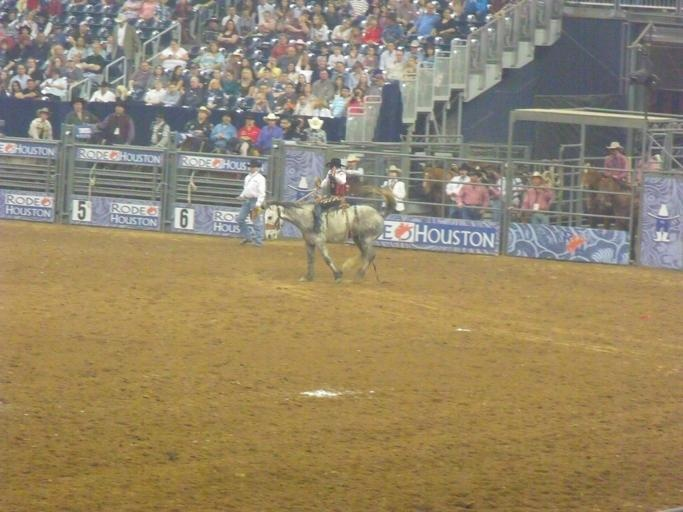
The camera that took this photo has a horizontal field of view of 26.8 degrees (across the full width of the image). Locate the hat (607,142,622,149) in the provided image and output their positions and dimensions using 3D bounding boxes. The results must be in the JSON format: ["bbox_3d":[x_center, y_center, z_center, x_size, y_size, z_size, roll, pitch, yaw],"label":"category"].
[{"bbox_3d":[7.065,-2.859,37.021,0.351,0.123,0.337,-3,8,-26],"label":"hat"}]

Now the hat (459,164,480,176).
[{"bbox_3d":[3.330,-2.257,37.217,0.533,0.313,0.199,2,3,6],"label":"hat"}]

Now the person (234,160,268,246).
[{"bbox_3d":[-2.274,-1.385,36.394,0.898,2.037,0.732,5,6,25],"label":"person"}]

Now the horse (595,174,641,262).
[{"bbox_3d":[7.122,-1.321,36.449,3.056,1.739,0.855,8,-10,-42],"label":"horse"}]

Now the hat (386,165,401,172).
[{"bbox_3d":[1.379,-2.279,37.403,0.335,0.191,0.230,1,3,0],"label":"hat"}]

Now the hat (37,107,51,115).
[{"bbox_3d":[-8.569,-4.151,41.002,0.338,0.220,0.375,2,3,4],"label":"hat"}]

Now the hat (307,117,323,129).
[{"bbox_3d":[-0.732,-3.628,39.183,0.362,0.329,0.133,1,3,-16],"label":"hat"}]
